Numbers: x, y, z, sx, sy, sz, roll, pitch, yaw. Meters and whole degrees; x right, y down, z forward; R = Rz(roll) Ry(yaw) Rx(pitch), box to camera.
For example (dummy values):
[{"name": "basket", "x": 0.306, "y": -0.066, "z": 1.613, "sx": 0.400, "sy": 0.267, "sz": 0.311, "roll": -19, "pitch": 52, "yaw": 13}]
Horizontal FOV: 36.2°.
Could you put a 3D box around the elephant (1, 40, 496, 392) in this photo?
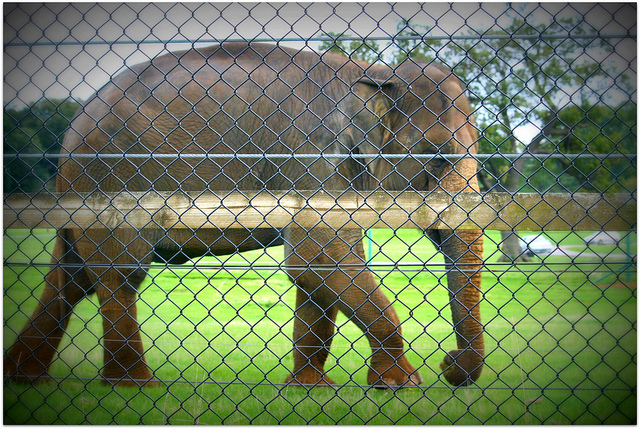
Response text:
[{"name": "elephant", "x": -0.972, "y": -0.236, "z": 13.506, "sx": 7.735, "sy": 3.095, "sz": 4.777, "roll": -1, "pitch": 91, "yaw": -3}]
